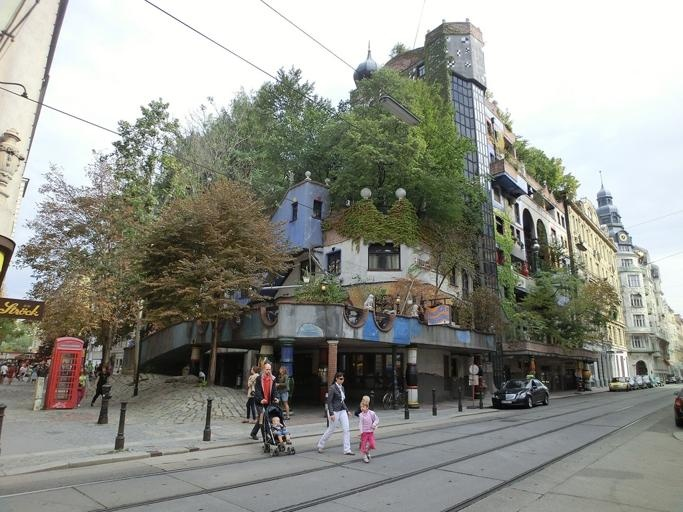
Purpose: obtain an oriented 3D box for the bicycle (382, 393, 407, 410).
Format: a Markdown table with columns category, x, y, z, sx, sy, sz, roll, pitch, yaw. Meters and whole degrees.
| category | x | y | z | sx | sy | sz | roll | pitch | yaw |
| --- | --- | --- | --- | --- | --- | --- | --- | --- | --- |
| bicycle | 3.016 | 8.371 | 25.337 | 0.967 | 0.874 | 2.505 | -5 | -17 | 15 |
